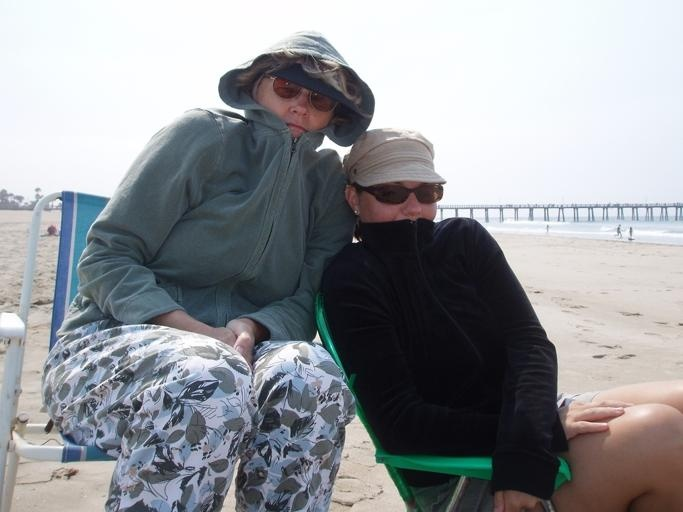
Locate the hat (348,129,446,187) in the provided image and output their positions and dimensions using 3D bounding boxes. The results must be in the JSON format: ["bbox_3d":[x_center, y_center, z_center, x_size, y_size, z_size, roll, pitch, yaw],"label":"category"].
[{"bbox_3d":[0.265,-0.484,2.954,0.493,0.309,0.623,-4,4,-25],"label":"hat"}]
